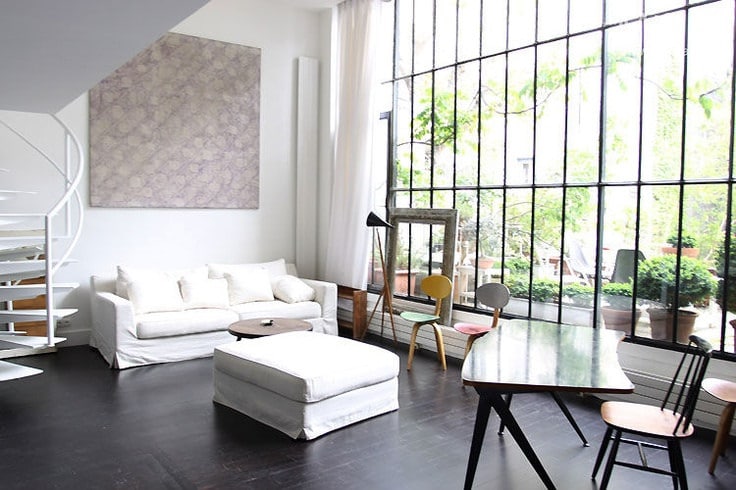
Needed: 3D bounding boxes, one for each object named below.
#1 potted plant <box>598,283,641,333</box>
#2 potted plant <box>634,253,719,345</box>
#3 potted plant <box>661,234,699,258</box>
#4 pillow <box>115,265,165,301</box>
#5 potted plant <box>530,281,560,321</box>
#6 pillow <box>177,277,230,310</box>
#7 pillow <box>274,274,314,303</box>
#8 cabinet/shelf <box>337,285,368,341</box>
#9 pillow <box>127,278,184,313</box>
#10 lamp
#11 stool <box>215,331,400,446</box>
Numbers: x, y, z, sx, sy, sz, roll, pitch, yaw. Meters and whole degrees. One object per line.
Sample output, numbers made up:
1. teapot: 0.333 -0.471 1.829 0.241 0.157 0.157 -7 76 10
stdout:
1. potted plant: 2.715 0.679 5.274 0.448 0.368 0.484 1 -7 27
2. potted plant: 3.076 0.529 4.930 0.790 0.898 0.889 0 1 2
3. potted plant: 3.117 0.028 4.874 0.226 0.207 0.215 1 1 33
4. pillow: -2.929 0.507 6.204 0.147 0.295 0.426 5 11 44
5. potted plant: 2.080 0.658 5.856 0.412 0.432 0.432 -4 6 -37
6. pillow: -2.210 0.659 6.457 0.467 0.301 0.160 2 -38 -30
7. pillow: -1.042 0.606 6.985 0.409 0.136 0.423 -4 27 -40
8. cabinet/shelf: -0.227 1.020 7.244 0.261 0.693 0.758 -4 7 -32
9. pillow: -2.701 0.648 6.140 0.563 0.464 0.172 -1 -28 -46
10. lamp: 0.192 0.421 7.106 0.441 1.855 0.955 1 12 0
11. stool: -0.413 1.201 4.665 1.086 0.415 1.105 1 1 -45
